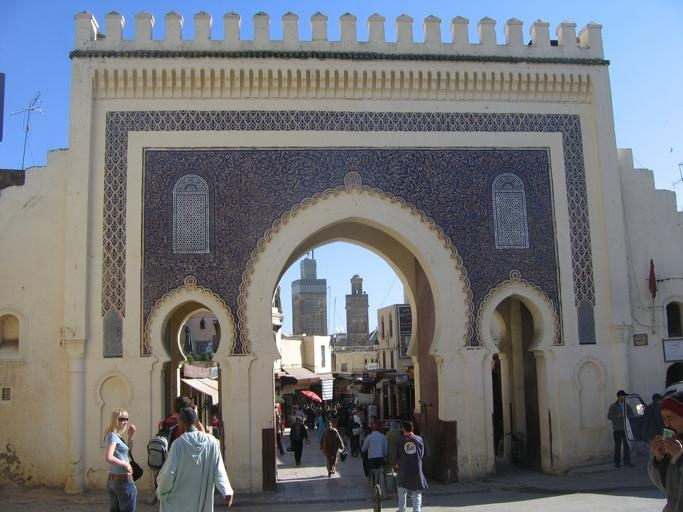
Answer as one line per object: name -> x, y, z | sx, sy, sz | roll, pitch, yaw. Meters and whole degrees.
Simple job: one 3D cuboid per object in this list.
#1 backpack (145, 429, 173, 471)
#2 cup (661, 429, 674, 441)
backpack -> -2.148, 2.269, 9.274 | 0.222, 0.399, 0.375 | 9, 6, 11
cup -> 3.094, 1.676, 7.425 | 0.101, 0.080, 0.093 | -2, -9, 0
